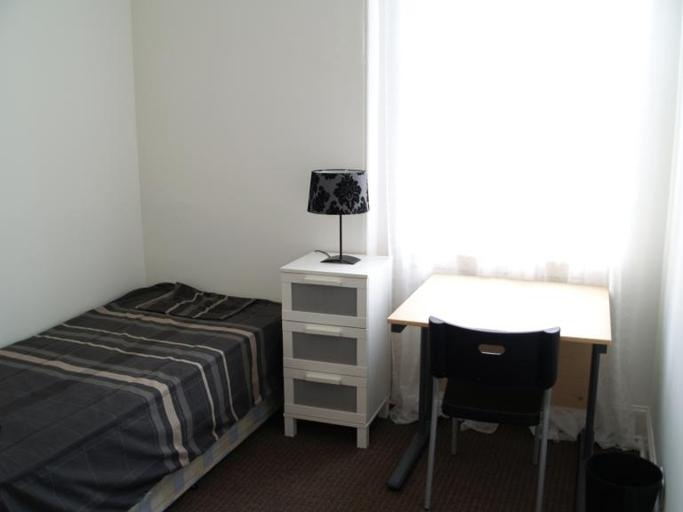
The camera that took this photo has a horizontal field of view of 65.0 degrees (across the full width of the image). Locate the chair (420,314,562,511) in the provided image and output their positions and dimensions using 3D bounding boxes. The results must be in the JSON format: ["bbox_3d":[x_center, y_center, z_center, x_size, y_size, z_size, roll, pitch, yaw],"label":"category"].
[{"bbox_3d":[0.694,0.745,2.516,0.629,1.077,0.650,3,24,15],"label":"chair"}]

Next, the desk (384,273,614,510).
[{"bbox_3d":[0.885,0.535,3.047,0.996,0.970,1.087,4,22,16],"label":"desk"}]

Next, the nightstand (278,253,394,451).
[{"bbox_3d":[-0.028,0.511,3.075,0.570,0.980,0.457,5,15,14],"label":"nightstand"}]

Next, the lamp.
[{"bbox_3d":[0.025,-0.269,3.186,0.457,0.681,0.465,2,16,7],"label":"lamp"}]
